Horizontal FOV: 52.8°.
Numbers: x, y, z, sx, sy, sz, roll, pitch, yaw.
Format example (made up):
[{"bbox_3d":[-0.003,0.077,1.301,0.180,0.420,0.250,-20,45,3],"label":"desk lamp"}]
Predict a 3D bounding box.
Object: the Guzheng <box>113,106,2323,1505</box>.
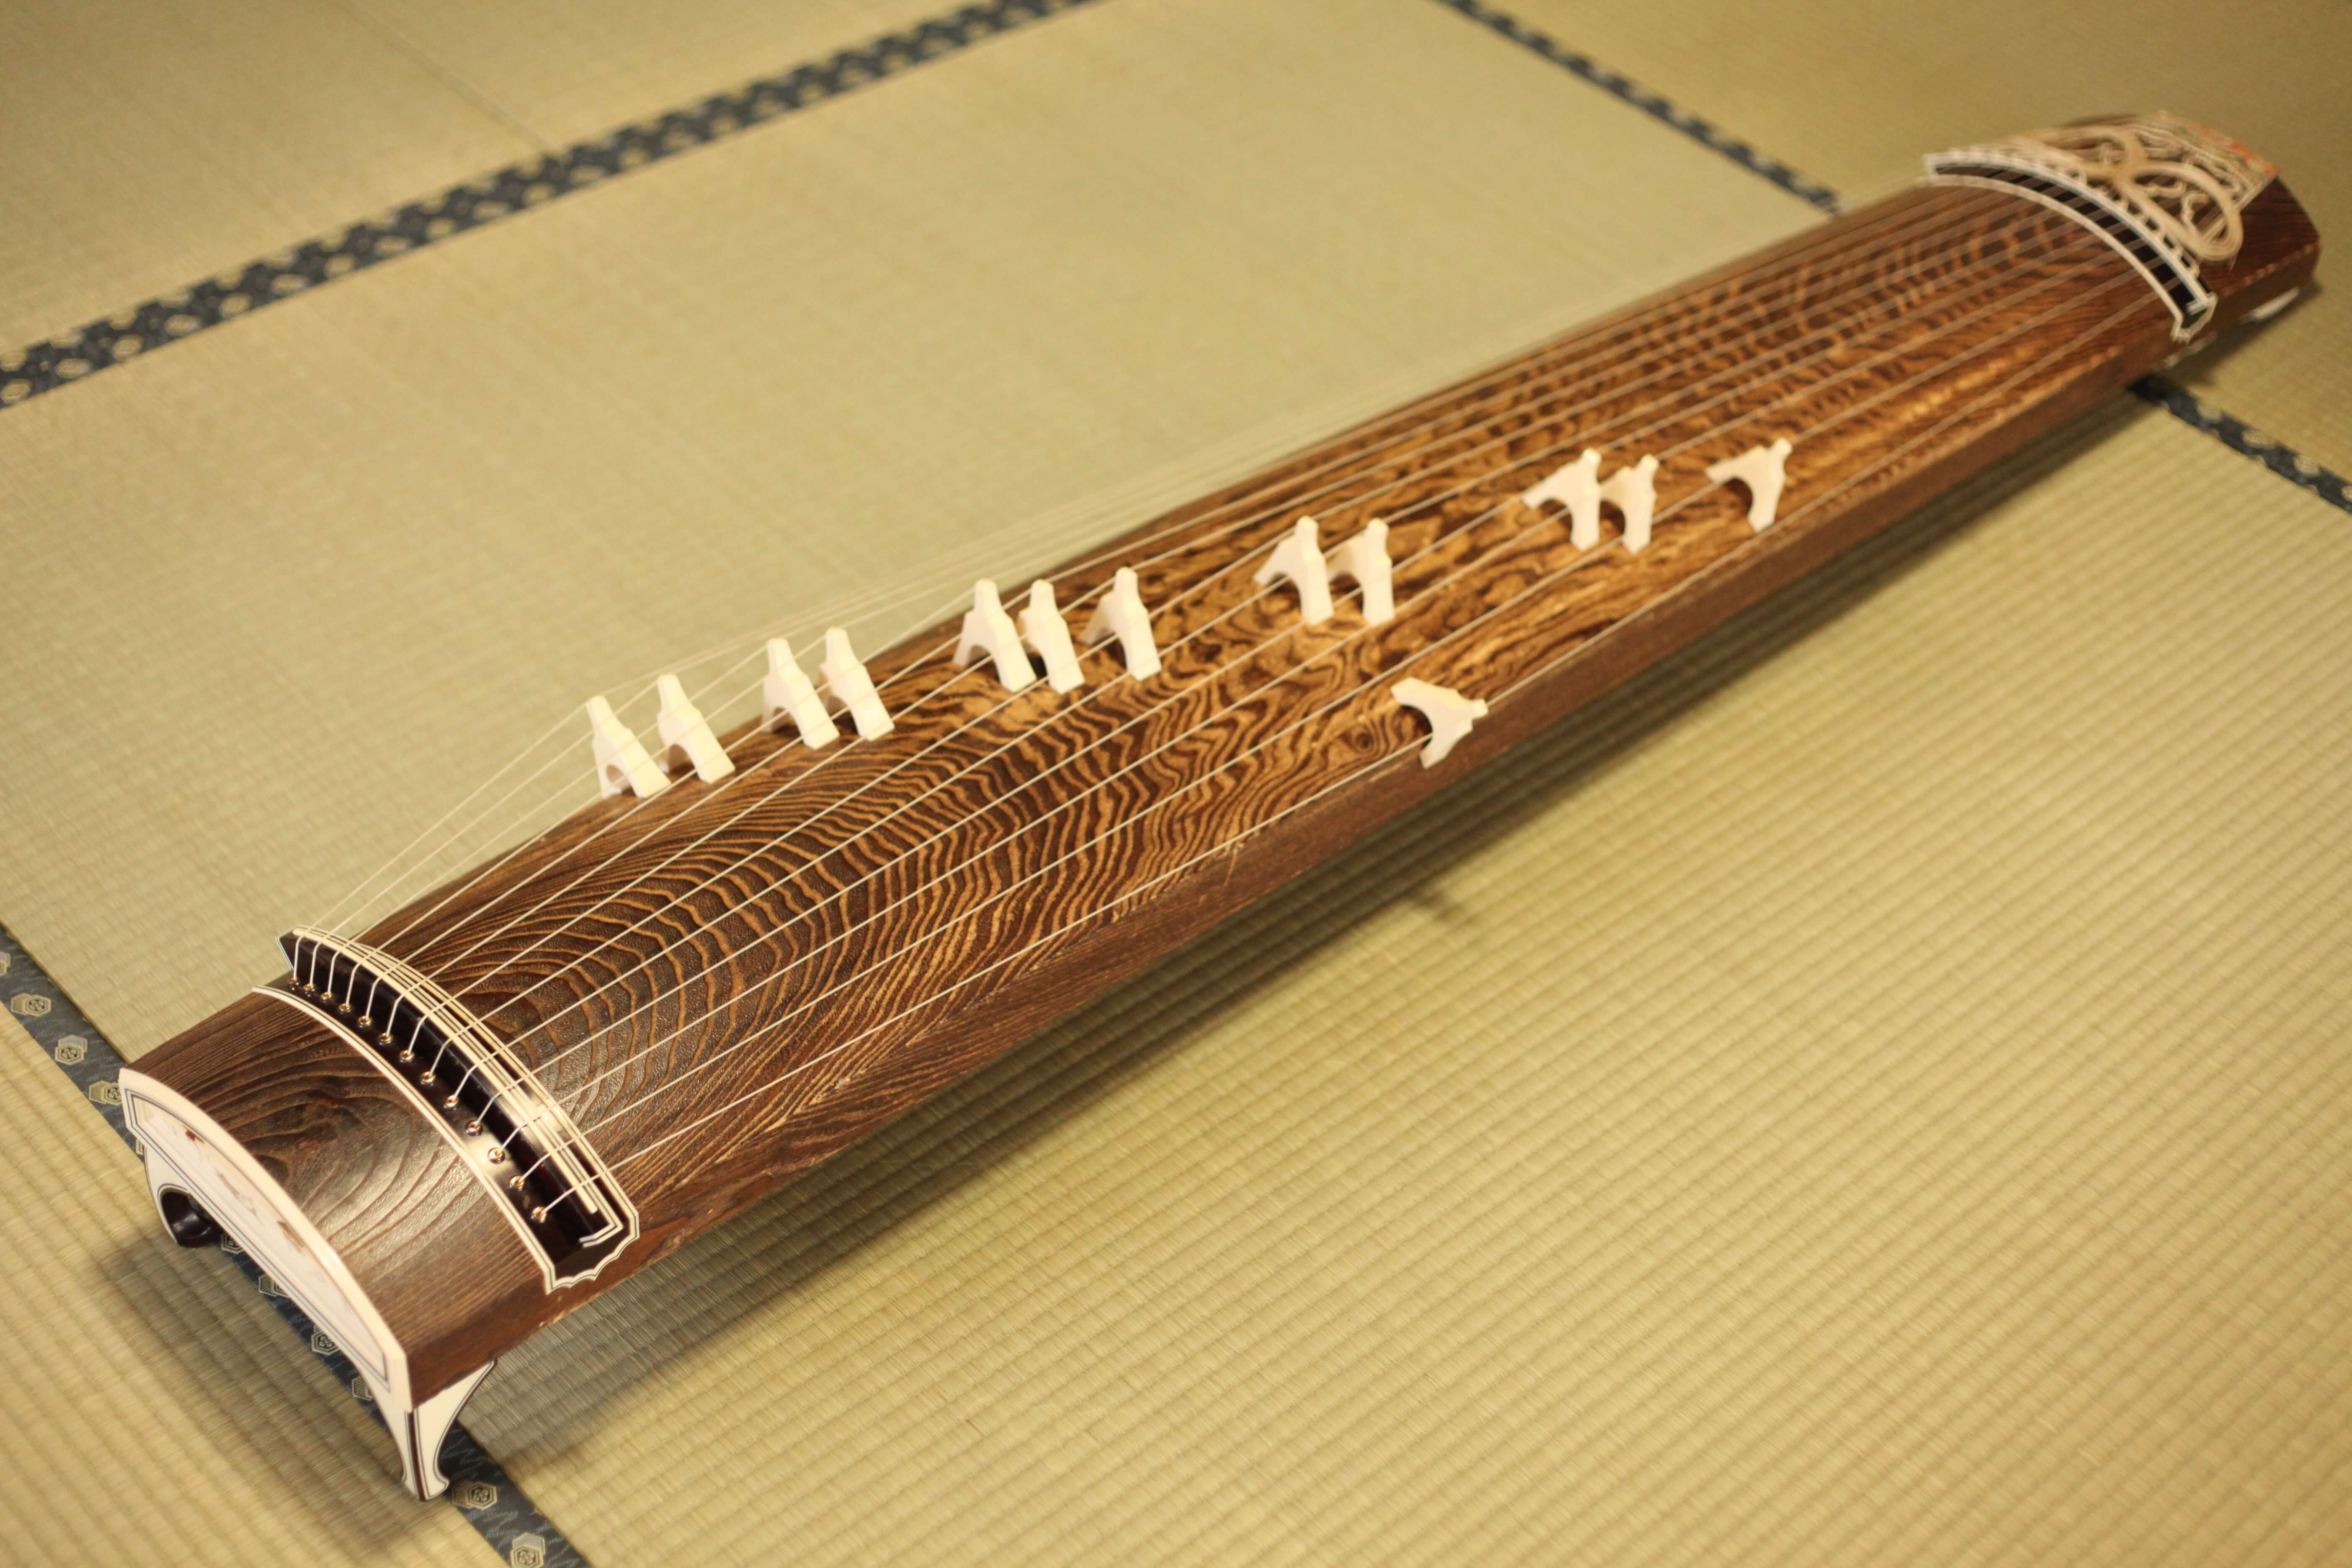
[{"bbox_3d":[0.600,-0.325,3.449,3.888,0.926,0.692,-26,-23,-23],"label":"Guzheng"}]
